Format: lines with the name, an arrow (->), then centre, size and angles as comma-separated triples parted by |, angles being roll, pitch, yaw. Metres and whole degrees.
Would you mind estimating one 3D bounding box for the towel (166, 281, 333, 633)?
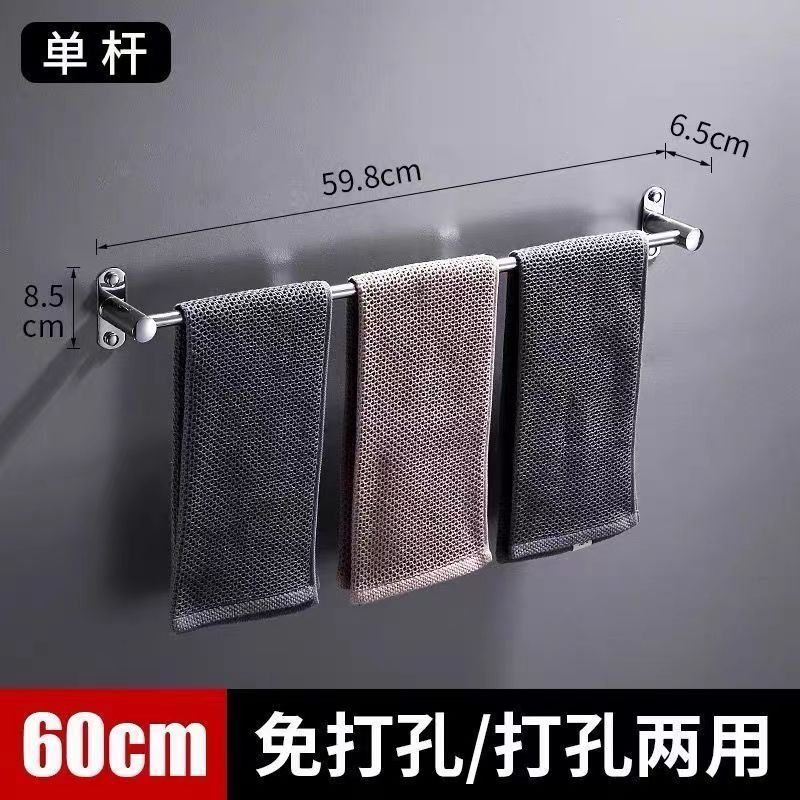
towel -> -0.142, 0.057, 1.020 | 0.135, 0.241, 0.229 | 3, -35, -6
